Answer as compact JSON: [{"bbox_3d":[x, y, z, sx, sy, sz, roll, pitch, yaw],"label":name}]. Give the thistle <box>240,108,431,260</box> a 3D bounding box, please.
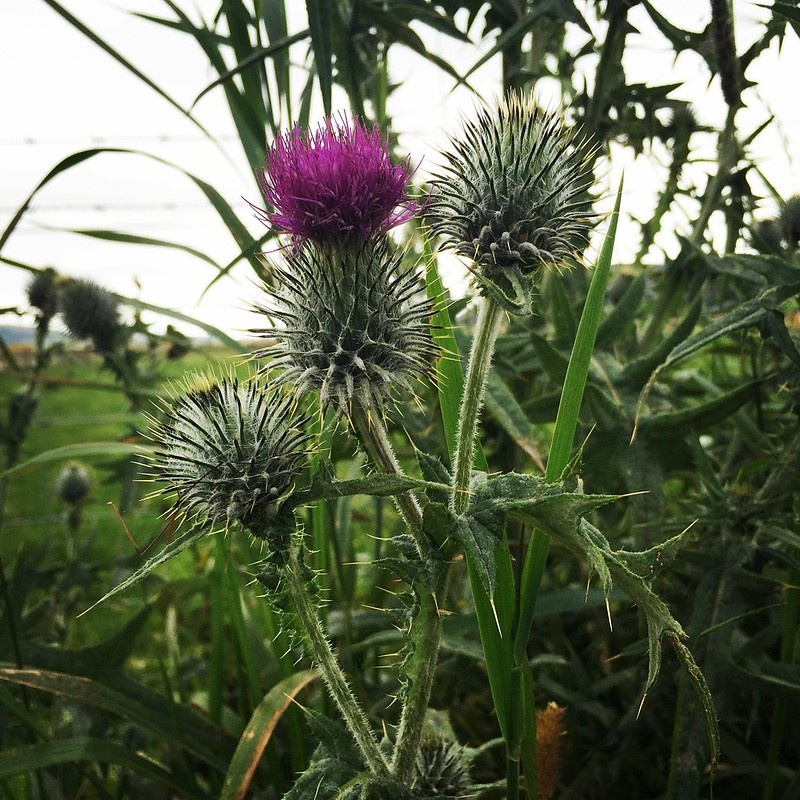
[{"bbox_3d":[-0.183,-0.614,2.803,0.468,0.344,0.509,3,2,13],"label":"thistle"}]
